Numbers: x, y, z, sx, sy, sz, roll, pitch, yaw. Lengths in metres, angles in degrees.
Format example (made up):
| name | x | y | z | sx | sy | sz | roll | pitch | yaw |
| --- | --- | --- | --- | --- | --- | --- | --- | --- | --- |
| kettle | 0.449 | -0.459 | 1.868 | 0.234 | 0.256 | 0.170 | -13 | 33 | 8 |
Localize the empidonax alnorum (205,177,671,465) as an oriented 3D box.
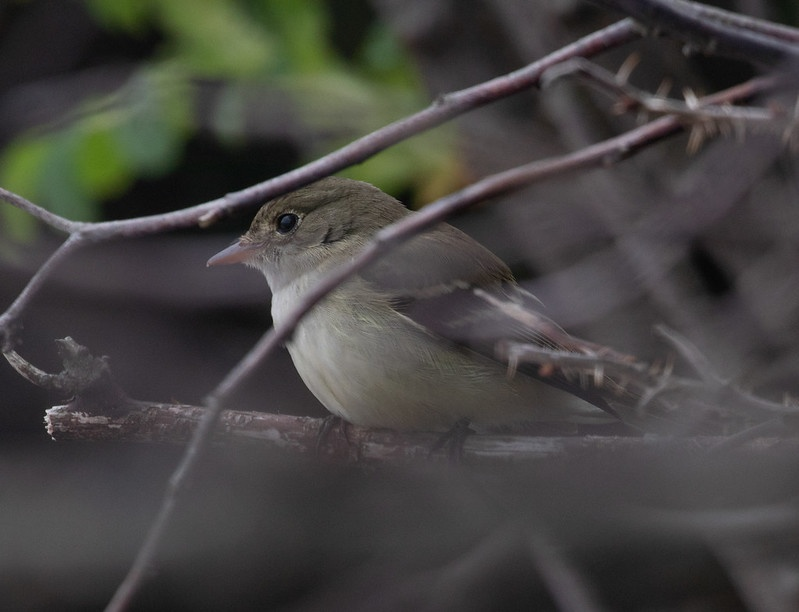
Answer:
| name | x | y | z | sx | sy | sz | roll | pitch | yaw |
| --- | --- | --- | --- | --- | --- | --- | --- | --- | --- |
| empidonax alnorum | 0.069 | 0.042 | 1.487 | 0.771 | 0.337 | 0.355 | 2 | 74 | -21 |
